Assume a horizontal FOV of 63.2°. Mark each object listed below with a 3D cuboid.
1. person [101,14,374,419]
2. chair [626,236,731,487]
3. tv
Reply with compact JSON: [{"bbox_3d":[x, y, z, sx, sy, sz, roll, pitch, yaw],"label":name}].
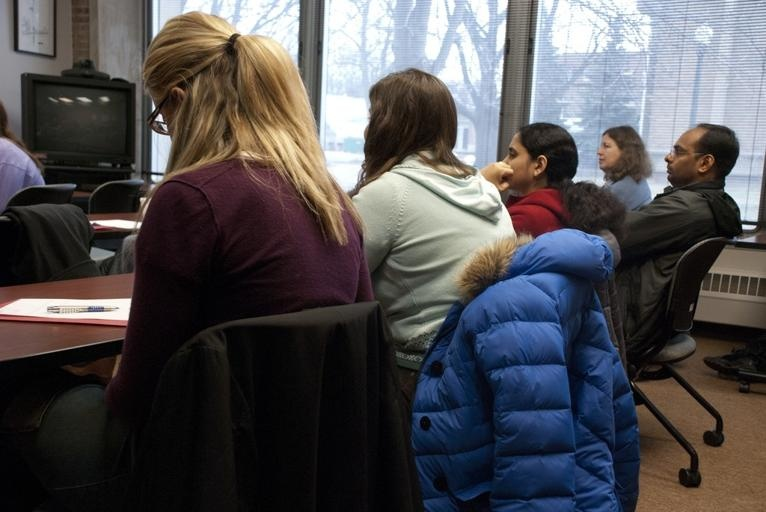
[{"bbox_3d":[-0.359,-0.110,1.587,0.593,0.994,0.326,2,11,-6],"label":"person"},{"bbox_3d":[1.381,0.400,2.846,0.438,0.997,0.743,9,13,30],"label":"chair"},{"bbox_3d":[-2.712,-1.114,5.798,0.932,0.990,0.528,2,8,-11],"label":"tv"}]
